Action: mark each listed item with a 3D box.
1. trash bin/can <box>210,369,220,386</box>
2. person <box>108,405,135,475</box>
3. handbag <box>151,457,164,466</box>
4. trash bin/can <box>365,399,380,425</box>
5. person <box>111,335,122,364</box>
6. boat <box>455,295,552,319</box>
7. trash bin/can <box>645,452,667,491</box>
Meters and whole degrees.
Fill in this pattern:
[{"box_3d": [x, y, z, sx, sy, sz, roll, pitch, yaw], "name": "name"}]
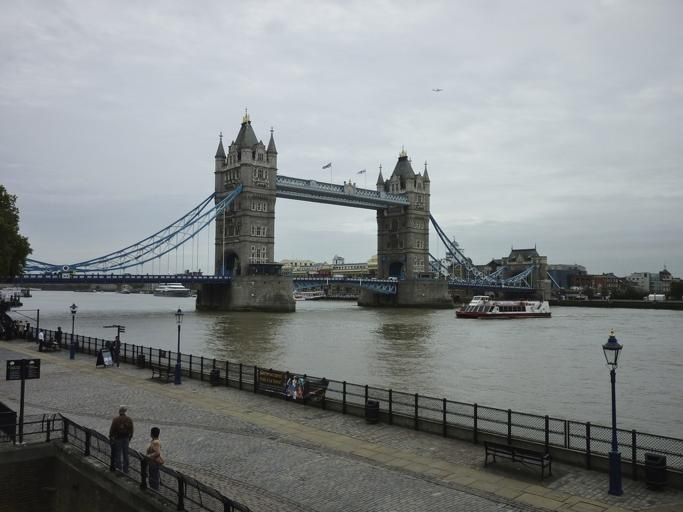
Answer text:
[{"box_3d": [-6.182, 5.963, 39.589, 0.640, 0.765, 0.450, -8, -14, 39], "name": "trash bin/can"}, {"box_3d": [-7.516, 6.240, 27.607, 0.787, 2.203, 0.837, -1, -3, -9], "name": "person"}, {"box_3d": [-6.203, 6.878, 27.280, 0.475, 0.344, 0.379, -1, -3, -16], "name": "handbag"}, {"box_3d": [1.188, 6.394, 33.421, 0.799, 1.026, 0.755, 3, -5, -15], "name": "trash bin/can"}, {"box_3d": [-12.665, 5.332, 45.560, 0.394, 1.581, 1.483, -1, -3, -16], "name": "person"}, {"box_3d": [21.352, 6.816, 106.064, 5.547, 2.857, 14.588, -4, -4, 44], "name": "boat"}, {"box_3d": [10.620, 7.279, 27.351, 0.734, 1.105, 0.457, -2, -3, 12], "name": "trash bin/can"}]
